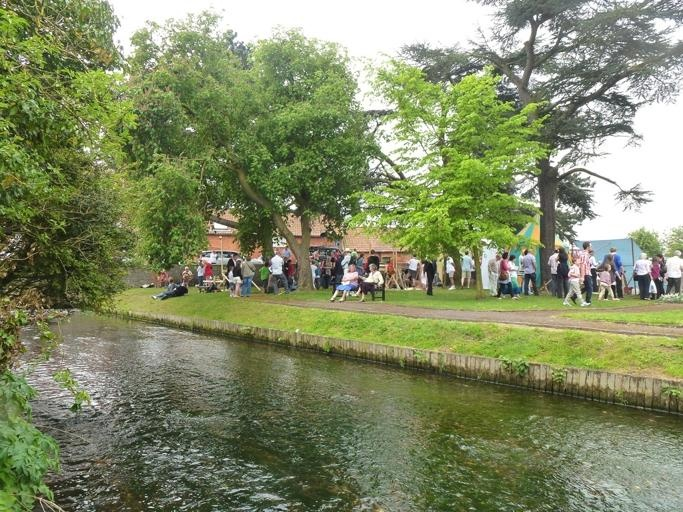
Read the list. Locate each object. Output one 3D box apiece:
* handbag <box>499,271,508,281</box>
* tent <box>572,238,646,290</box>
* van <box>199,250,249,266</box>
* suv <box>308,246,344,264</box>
[{"bbox_3d":[7.707,0.991,26.232,0.343,0.360,0.345,-7,-7,42],"label":"handbag"},{"bbox_3d":[13.972,0.502,28.585,1.900,1.979,3.004,-4,6,-23],"label":"tent"},{"bbox_3d":[-8.603,0.589,40.608,3.504,1.290,1.756,-4,3,-5],"label":"van"},{"bbox_3d":[-0.894,-0.119,38.687,1.945,1.091,1.228,-4,2,9],"label":"suv"}]
